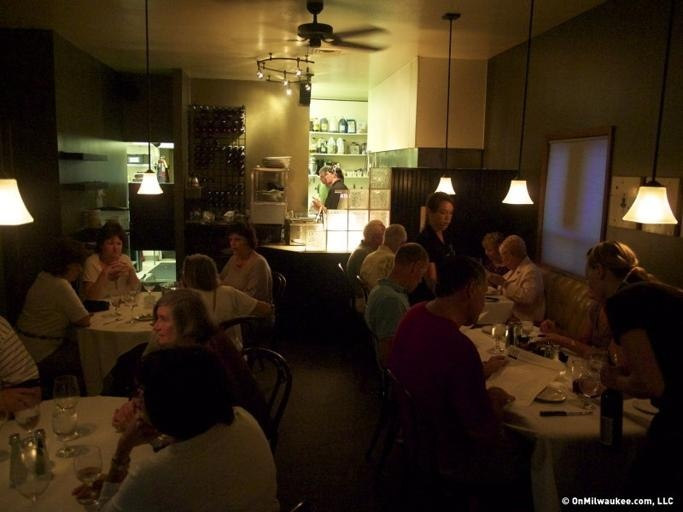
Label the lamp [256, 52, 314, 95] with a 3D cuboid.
[{"bbox_3d":[-0.801,-2.592,8.238,0.774,0.257,0.806,4,16,-4],"label":"lamp"}]

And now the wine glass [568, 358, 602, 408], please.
[{"bbox_3d":[1.414,0.716,3.364,0.191,0.320,0.201,-3,-9,29],"label":"wine glass"}]

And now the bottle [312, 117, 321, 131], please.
[{"bbox_3d":[-0.471,-2.399,10.681,0.193,0.210,0.300,-2,14,-6],"label":"bottle"}]

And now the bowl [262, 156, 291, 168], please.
[{"bbox_3d":[-0.895,-1.292,8.028,0.293,0.127,0.288,4,6,0],"label":"bowl"}]

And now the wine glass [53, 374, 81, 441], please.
[{"bbox_3d":[-1.430,0.801,3.013,0.173,0.360,0.176,1,-7,-17],"label":"wine glass"}]

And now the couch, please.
[{"bbox_3d":[2.033,0.406,5.167,0.410,0.565,1.321,3,7,-2],"label":"couch"}]

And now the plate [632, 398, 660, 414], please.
[{"bbox_3d":[1.653,0.811,3.156,0.117,0.036,0.121,4,8,8],"label":"plate"}]

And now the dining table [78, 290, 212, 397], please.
[{"bbox_3d":[-1.648,0.630,4.482,0.647,0.659,0.673,2,1,-12],"label":"dining table"}]
